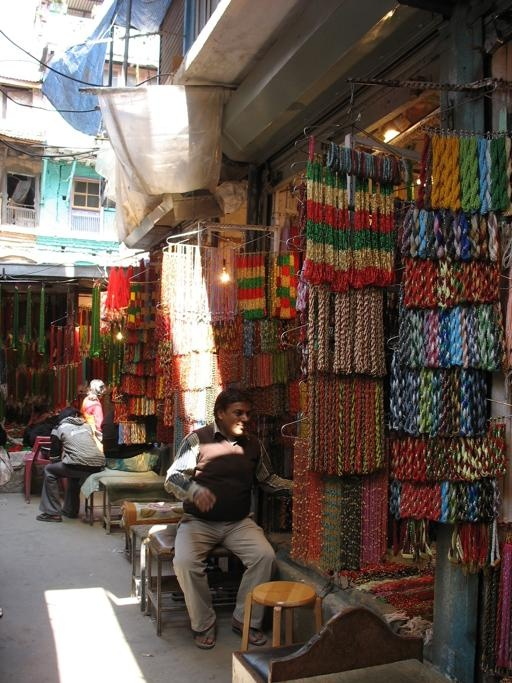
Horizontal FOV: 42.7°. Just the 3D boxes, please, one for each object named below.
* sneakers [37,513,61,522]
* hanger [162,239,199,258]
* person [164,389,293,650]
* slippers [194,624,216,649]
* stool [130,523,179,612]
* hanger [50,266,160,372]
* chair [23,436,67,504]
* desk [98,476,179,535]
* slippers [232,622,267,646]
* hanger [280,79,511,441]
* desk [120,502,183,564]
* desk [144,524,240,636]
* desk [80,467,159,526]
[{"bbox_3d":[-2.257,1.920,7.135,0.242,0.100,0.106,11,-5,-11],"label":"sneakers"},{"bbox_3d":[-0.565,-0.740,5.174,0.348,0.085,0.338,1,-1,-10],"label":"hanger"},{"bbox_3d":[-0.162,1.013,3.860,0.753,1.427,0.690,4,-6,-36],"label":"person"},{"bbox_3d":[-0.282,1.632,3.628,0.115,0.098,0.143,2,-5,-8],"label":"slippers"},{"bbox_3d":[-0.660,1.459,4.229,0.519,0.511,0.387,5,-23,-15],"label":"stool"},{"bbox_3d":[-1.838,-0.156,8.086,1.141,0.857,1.987,-3,2,-17],"label":"hanger"},{"bbox_3d":[-2.839,1.633,8.610,0.448,0.607,0.361,-22,-15,36],"label":"chair"},{"bbox_3d":[-1.296,1.624,6.950,0.607,0.358,0.675,19,-2,-23],"label":"desk"},{"bbox_3d":[-0.049,1.605,3.657,0.088,0.068,0.238,-1,-3,-29],"label":"slippers"},{"bbox_3d":[0.646,-0.277,2.928,0.992,1.440,0.370,5,7,39],"label":"hanger"},{"bbox_3d":[-0.790,1.442,4.982,0.313,0.343,0.426,-9,-13,41],"label":"desk"},{"bbox_3d":[-0.442,1.527,4.178,0.462,0.606,0.600,3,-5,-15],"label":"desk"},{"bbox_3d":[-1.414,1.588,6.880,0.655,0.489,0.853,4,-6,-19],"label":"desk"}]
